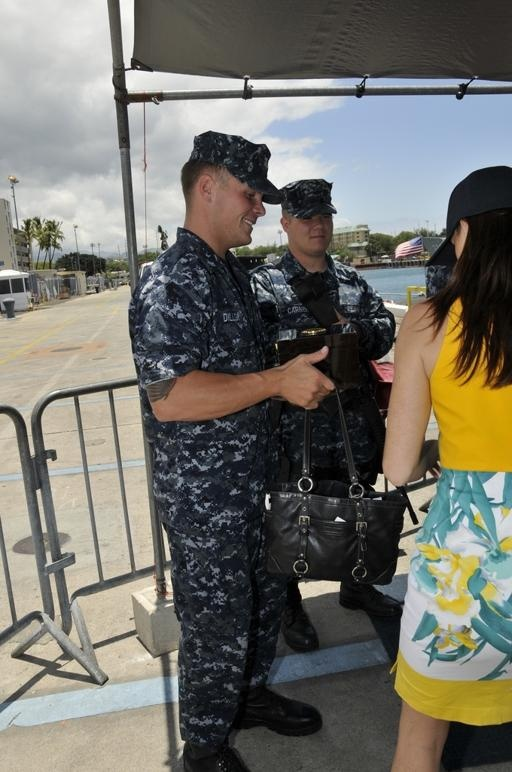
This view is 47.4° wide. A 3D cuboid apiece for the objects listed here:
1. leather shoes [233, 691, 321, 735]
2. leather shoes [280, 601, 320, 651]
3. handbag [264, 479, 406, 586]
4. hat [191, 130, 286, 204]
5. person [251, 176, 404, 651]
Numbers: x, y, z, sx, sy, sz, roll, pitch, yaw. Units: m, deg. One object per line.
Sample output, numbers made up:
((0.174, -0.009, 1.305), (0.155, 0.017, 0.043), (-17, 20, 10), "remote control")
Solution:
((0.085, 1.178, 2.175), (0.367, 0.145, 0.132), (0, 15, 14), "leather shoes")
((0.199, 1.115, 2.656), (0.102, 0.106, 0.261), (-3, -7, -10), "leather shoes")
((0.241, 0.412, 1.750), (0.425, 0.319, 0.189), (4, 10, 12), "handbag")
((-0.063, -0.709, 1.837), (0.350, 0.143, 0.242), (17, 16, 9), "hat")
((0.314, 0.186, 2.702), (0.860, 2.117, 0.644), (-7, 13, -15), "person")
